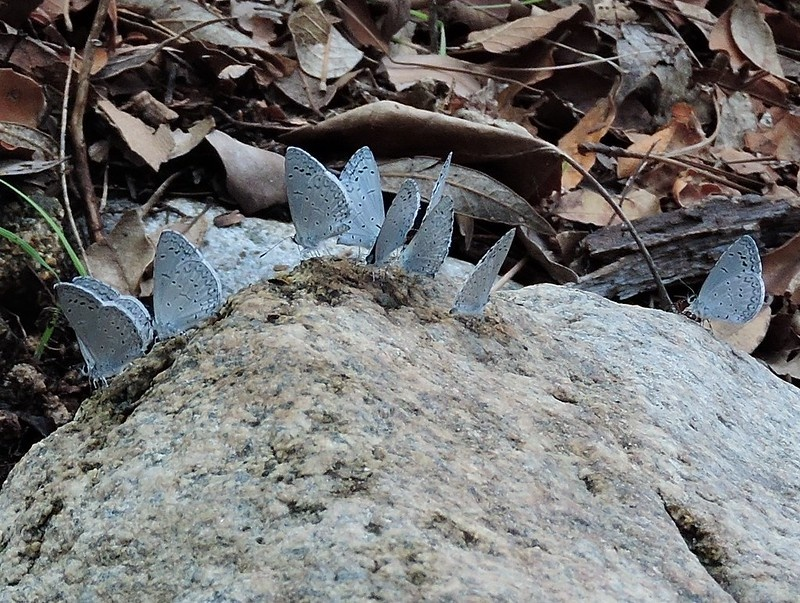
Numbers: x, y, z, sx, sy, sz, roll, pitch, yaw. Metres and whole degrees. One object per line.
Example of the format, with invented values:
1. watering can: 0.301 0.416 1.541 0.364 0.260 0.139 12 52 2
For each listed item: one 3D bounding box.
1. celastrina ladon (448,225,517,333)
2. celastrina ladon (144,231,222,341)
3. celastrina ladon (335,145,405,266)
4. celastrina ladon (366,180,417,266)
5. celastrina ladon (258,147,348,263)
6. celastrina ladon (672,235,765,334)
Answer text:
1. celastrina ladon: 0.330 -0.113 4.180 0.104 0.235 0.366 31 28 -22
2. celastrina ladon: -0.792 -0.076 3.736 0.162 0.441 0.429 -9 96 7
3. celastrina ladon: -0.147 -0.409 4.292 0.345 0.171 0.420 18 79 -4
4. celastrina ladon: -0.017 -0.304 4.098 0.171 0.538 0.101 -23 63 -25
5. celastrina ladon: -0.354 -0.393 4.057 0.313 0.369 0.230 -15 62 -3
6. celastrina ladon: 1.580 -0.124 5.058 0.382 0.468 0.443 3 95 22
